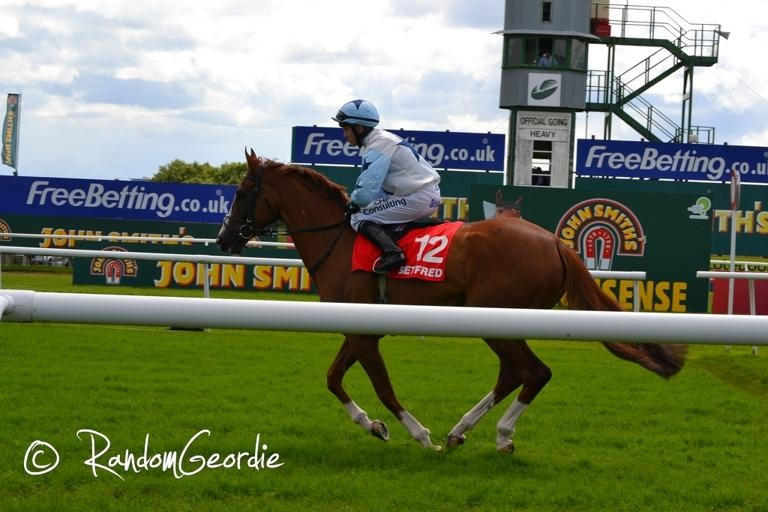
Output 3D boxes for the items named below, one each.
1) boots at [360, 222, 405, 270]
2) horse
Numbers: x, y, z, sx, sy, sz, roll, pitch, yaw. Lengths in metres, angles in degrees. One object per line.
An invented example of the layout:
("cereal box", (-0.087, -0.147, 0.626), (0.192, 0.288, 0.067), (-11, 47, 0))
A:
("boots", (-0.020, -0.054, 8.566), (0.248, 0.125, 0.296), (-20, 44, -5))
("horse", (0.275, 0.239, 8.455), (3.632, 2.082, 1.248), (0, 5, 29))
